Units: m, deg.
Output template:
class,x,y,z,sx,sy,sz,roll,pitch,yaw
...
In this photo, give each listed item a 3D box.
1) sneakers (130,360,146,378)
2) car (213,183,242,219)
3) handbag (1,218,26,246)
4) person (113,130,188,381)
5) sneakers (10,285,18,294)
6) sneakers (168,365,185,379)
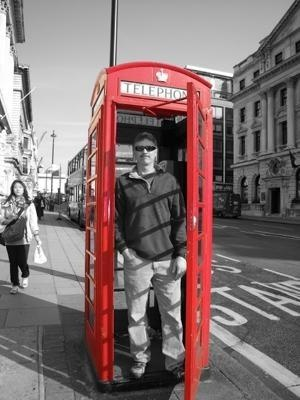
class,x,y,z,sx,sy,sz,roll,pitch,yaw
sneakers,-0.092,1.329,2.919,0.108,0.110,0.122,1,4,-2
car,7.496,0.138,36.337,1.071,3.781,3.254,-2,2,-13
handbag,-2.128,0.504,5.847,0.262,0.475,0.163,-8,-27,42
person,0.009,0.421,3.030,0.582,1.934,0.414,0,3,-7
sneakers,-2.120,1.409,5.838,0.071,0.127,0.259,1,-10,-10
sneakers,0.210,1.356,2.946,0.118,0.129,0.096,1,4,5
